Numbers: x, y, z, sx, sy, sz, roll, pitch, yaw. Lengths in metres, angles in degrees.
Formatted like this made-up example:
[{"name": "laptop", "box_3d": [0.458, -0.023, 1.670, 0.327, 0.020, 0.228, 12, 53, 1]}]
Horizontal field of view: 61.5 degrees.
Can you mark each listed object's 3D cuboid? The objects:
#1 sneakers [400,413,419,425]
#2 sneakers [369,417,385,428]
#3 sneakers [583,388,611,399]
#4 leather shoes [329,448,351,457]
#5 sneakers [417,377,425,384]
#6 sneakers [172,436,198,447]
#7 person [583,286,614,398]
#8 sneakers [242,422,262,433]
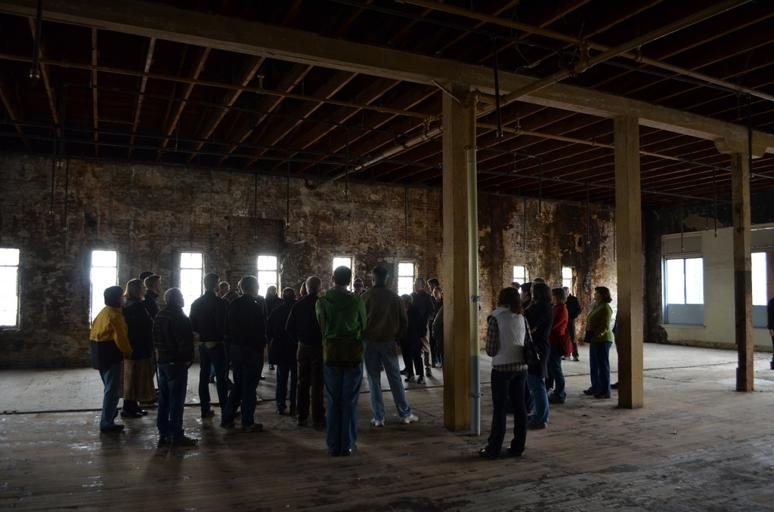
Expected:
[{"name": "sneakers", "box_3d": [0.372, 2.649, 10.482, 0.314, 0.139, 0.122, 1, -2, -29]}, {"name": "sneakers", "box_3d": [-0.166, 2.666, 10.334, 0.100, 0.101, 0.232, 1, -1, -15]}, {"name": "sneakers", "box_3d": [3.851, 2.572, 12.053, 0.471, 0.203, 0.176, 2, -3, 32]}, {"name": "leather shoes", "box_3d": [-0.653, 2.799, 9.168, 0.310, 0.129, 0.110, 1, -2, -34]}, {"name": "sneakers", "box_3d": [0.684, 2.540, 13.054, 0.138, 0.135, 0.082, 1, -5, -25]}, {"name": "sneakers", "box_3d": [-2.901, 2.700, 9.480, 0.380, 0.177, 0.136, 1, -4, -17]}, {"name": "person", "box_3d": [3.886, 1.614, 12.014, 0.488, 2.021, 0.509, 2, 7, 17]}, {"name": "sneakers", "box_3d": [-2.053, 2.663, 9.967, 0.282, 0.124, 0.119, 7, -8, -27]}]
